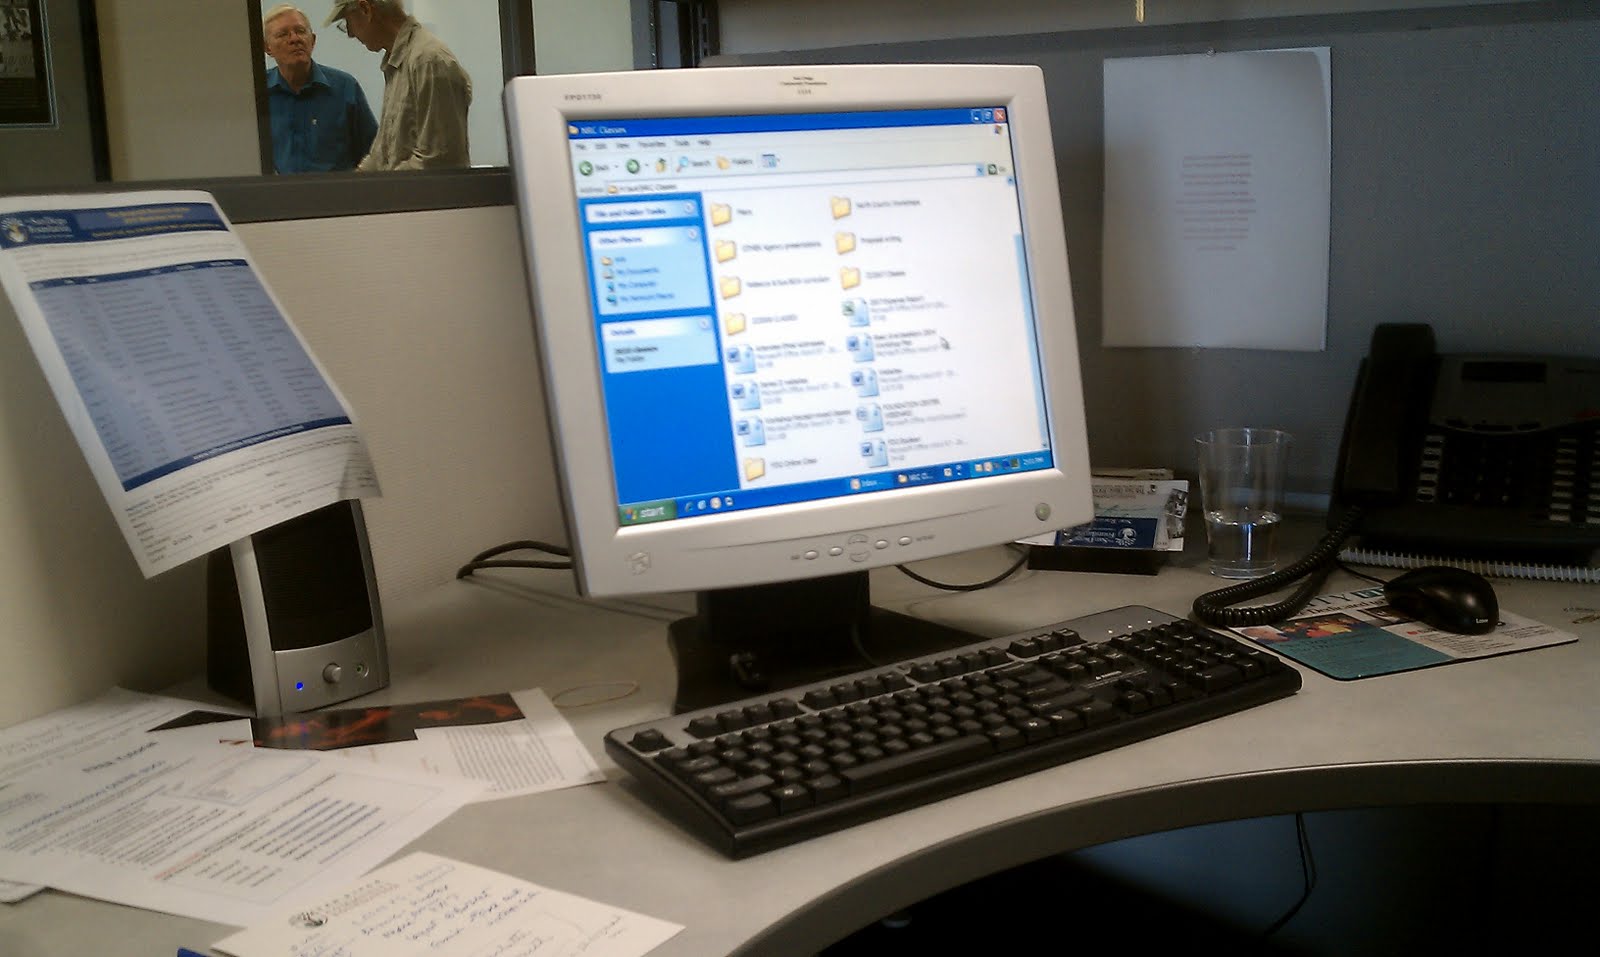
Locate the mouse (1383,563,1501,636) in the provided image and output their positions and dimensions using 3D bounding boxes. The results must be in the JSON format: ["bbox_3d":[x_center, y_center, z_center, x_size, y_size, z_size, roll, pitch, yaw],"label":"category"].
[{"bbox_3d":[0.794,0.136,1.455,0.101,0.073,0.169,-10,8,-8],"label":"mouse"}]

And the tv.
[{"bbox_3d":[0.002,-0.093,1.336,0.730,0.737,0.272,-9,19,-21],"label":"tv"}]
